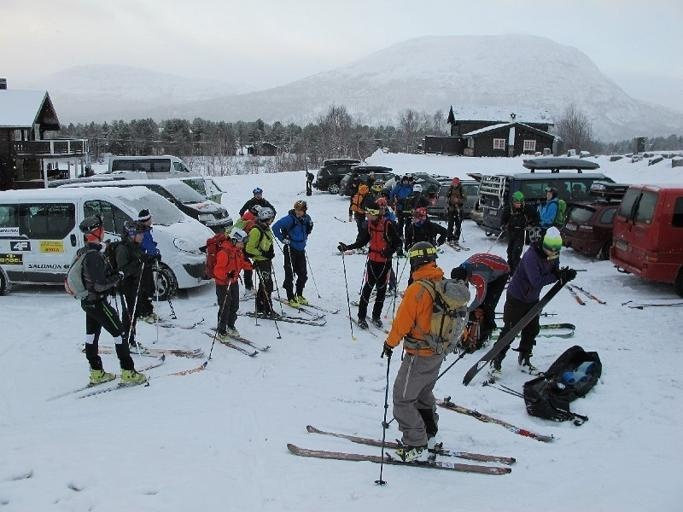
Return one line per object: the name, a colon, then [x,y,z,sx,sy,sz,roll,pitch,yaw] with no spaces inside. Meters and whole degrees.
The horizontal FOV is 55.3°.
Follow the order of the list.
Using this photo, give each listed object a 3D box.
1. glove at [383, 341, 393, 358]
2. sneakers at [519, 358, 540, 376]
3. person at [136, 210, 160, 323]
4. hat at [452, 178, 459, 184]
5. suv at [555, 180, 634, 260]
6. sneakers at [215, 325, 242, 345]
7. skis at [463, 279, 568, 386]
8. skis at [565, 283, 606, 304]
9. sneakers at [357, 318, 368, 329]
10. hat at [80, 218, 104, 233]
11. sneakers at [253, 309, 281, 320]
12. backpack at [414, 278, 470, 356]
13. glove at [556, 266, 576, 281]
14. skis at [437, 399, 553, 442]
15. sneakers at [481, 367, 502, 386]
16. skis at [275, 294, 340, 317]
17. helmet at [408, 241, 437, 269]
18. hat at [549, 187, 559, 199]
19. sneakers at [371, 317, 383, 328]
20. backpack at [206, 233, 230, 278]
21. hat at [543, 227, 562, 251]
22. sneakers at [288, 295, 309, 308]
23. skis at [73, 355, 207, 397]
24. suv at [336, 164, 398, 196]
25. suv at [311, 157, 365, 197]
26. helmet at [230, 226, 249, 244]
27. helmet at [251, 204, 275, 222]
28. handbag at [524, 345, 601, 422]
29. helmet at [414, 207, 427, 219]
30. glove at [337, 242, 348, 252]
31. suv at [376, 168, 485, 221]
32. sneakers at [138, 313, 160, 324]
glove: [0.601,1.166,8.143,0.128,0.166,0.174,-4,-28,-21]
sneakers: [2.933,1.746,10.199,0.130,0.270,0.388,-7,-3,-14]
person: [-3.438,0.263,11.546,0.576,2.056,0.819,-7,49,-23]
hat: [3.125,-2.033,17.637,0.168,0.195,0.234,-8,18,-3]
suv: [6.014,-0.857,15.834,2.069,1.036,1.207,-24,22,-22]
sneakers: [-1.956,1.348,11.186,0.496,0.237,0.174,3,9,33]
skis: [2.701,1.242,10.261,0.212,1.927,0.195,38,13,-3]
skis: [4.999,0.764,13.305,0.155,0.141,1.177,-8,14,0]
sneakers: [0.384,1.231,11.876,0.094,0.114,0.260,-5,8,-27]
hat: [-3.676,-0.497,9.601,0.196,0.151,0.303,-15,13,17]
sneakers: [-1.400,1.116,12.304,0.377,0.071,0.206,4,12,21]
backpack: [1.265,0.763,8.092,0.641,0.953,0.306,-1,8,-4]
glove: [3.351,0.285,9.701,0.231,0.223,0.401,1,9,13]
skis: [2.115,2.272,8.925,1.069,0.171,0.150,18,31,38]
sneakers: [2.302,1.869,10.011,0.157,0.200,0.469,18,3,31]
skis: [-0.695,0.990,12.862,0.859,0.130,0.119,19,41,29]
helmet: [1.016,-0.013,8.244,0.337,0.335,0.307,13,19,41]
hat: [4.997,-1.481,15.362,0.156,0.241,0.382,4,10,28]
sneakers: [0.660,1.218,11.913,0.088,0.152,0.291,2,20,-37]
backpack: [-2.112,-0.007,11.040,0.360,0.721,0.364,-3,9,-19]
hat: [3.203,-0.269,9.706,0.248,0.347,0.346,-1,25,7]
sneakers: [-0.869,0.903,12.871,0.296,0.112,0.232,4,14,39]
skis: [-3.067,1.844,9.873,0.209,0.181,1.482,20,27,38]
suv: [1.208,-3.509,28.822,2.336,1.183,1.360,-10,19,-19]
suv: [-0.199,-4.057,33.402,2.369,1.293,1.448,-7,22,-5]
helmet: [-1.735,-0.368,10.930,0.277,0.285,0.197,-41,48,-18]
helmet: [-1.419,-0.787,12.028,0.332,0.294,0.365,26,4,17]
handbag: [3.226,1.867,9.449,0.776,0.330,1.098,23,33,38]
helmet: [1.558,-0.854,12.892,0.222,0.217,0.345,4,10,25]
glove: [0.005,-0.168,12.025,0.184,0.143,0.067,-5,-27,16]
suv: [3.027,-1.938,22.882,3.431,1.188,2.008,1,18,-3]
sneakers: [-3.536,1.159,12.028,0.435,0.207,0.147,-2,16,-2]
